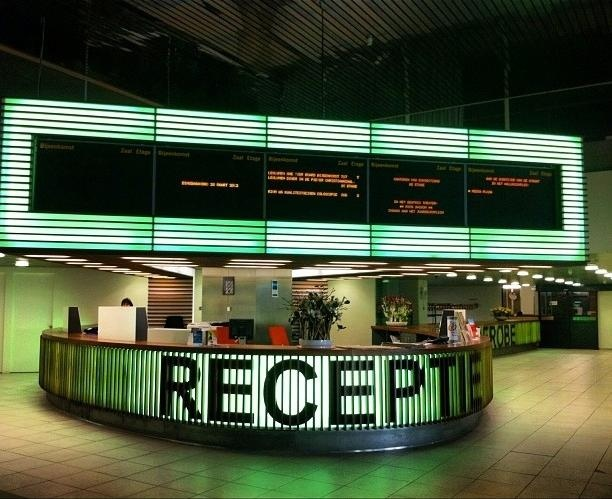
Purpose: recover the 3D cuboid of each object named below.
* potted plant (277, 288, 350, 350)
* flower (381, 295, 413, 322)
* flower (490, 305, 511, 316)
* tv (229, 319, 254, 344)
[{"bbox_3d":[0.141,1.025,9.199,0.804,0.796,0.629,-1,7,7],"label":"potted plant"},{"bbox_3d":[2.483,1.622,16.857,0.898,0.860,0.757,0,-7,15],"label":"flower"},{"bbox_3d":[5.914,1.872,18.949,0.540,0.283,0.524,3,-9,0],"label":"flower"},{"bbox_3d":[-1.132,1.433,10.875,0.440,0.416,0.137,1,-5,-18],"label":"tv"}]
